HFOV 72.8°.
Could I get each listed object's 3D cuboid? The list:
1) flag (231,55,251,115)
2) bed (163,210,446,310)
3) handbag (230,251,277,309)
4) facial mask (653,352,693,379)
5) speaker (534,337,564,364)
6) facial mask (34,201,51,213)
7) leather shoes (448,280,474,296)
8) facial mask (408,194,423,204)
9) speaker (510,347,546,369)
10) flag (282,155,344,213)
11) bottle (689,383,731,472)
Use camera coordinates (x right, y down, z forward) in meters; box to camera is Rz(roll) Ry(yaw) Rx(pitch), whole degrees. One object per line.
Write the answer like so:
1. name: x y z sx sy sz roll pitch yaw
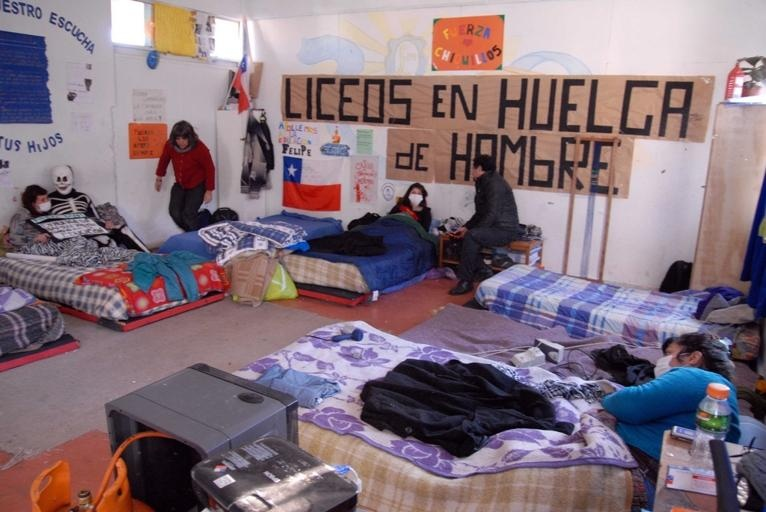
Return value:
1. flag: -2.066 -2.519 7.567 0.260 0.810 0.304 -6 17 -12
2. bed: -0.723 -0.053 6.221 1.767 0.332 1.730 10 20 30
3. handbag: -1.440 0.254 5.676 0.590 0.526 0.169 -3 -8 9
4. facial mask: 1.812 0.696 3.279 0.179 0.098 0.168 25 0 20
5. speaker: 1.337 0.780 4.190 0.063 0.089 0.160 -13 20 -35
6. facial mask: -3.811 -0.554 5.824 0.135 0.088 0.113 -9 19 -4
7. leather shoes: 0.908 0.387 6.019 0.306 0.125 0.126 -3 7 -45
8. facial mask: 0.430 -0.750 6.838 0.150 0.107 0.140 6 6 10
9. speaker: 1.151 0.810 4.098 0.233 0.085 0.131 -3 13 -23
10. flag: -1.069 -1.031 7.640 0.081 0.782 1.153 14 12 43
11. bottle: 1.535 0.771 2.423 0.131 0.390 0.307 9 19 34
